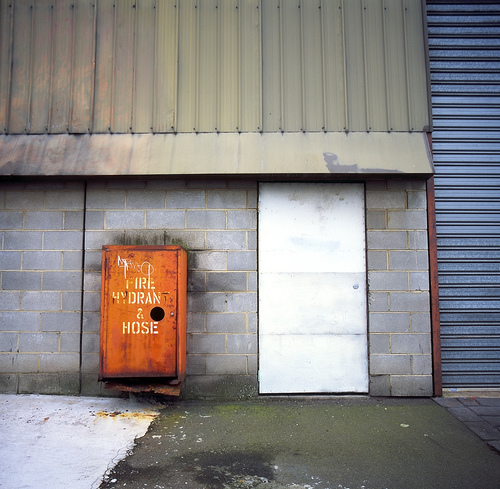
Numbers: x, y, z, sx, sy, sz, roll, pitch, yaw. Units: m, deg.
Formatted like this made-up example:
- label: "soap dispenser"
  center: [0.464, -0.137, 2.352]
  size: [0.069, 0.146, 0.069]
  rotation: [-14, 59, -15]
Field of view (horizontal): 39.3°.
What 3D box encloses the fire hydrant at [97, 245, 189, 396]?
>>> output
- label: "fire hydrant"
  center: [-1.351, 0.868, 9.050]
  size: [0.991, 1.835, 0.586]
  rotation: [1, 4, -4]
